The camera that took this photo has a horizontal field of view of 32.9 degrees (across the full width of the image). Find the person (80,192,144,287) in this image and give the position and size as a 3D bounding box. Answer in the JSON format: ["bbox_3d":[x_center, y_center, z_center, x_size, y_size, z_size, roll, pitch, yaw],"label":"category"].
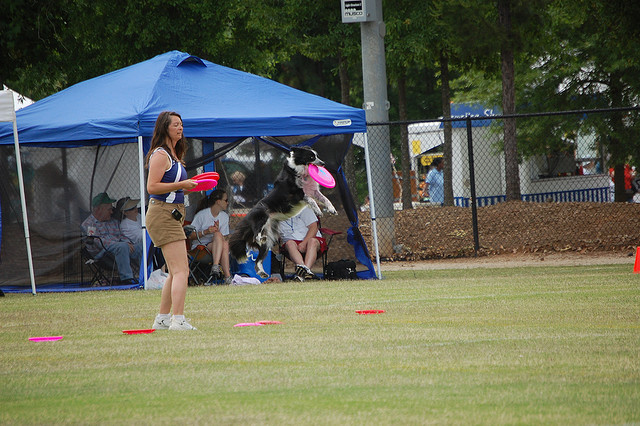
[{"bbox_3d":[-3.971,0.523,20.852,1.068,1.654,0.599,8,14,41],"label":"person"}]

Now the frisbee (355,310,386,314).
[{"bbox_3d":[0.827,1.629,17.807,0.490,0.025,0.195,0,11,4],"label":"frisbee"}]

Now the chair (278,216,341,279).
[{"bbox_3d":[-0.131,0.631,21.355,0.761,0.931,0.851,14,-17,-24],"label":"chair"}]

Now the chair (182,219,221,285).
[{"bbox_3d":[-2.393,0.752,21.180,0.812,0.968,0.835,-3,2,28],"label":"chair"}]

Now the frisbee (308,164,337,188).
[{"bbox_3d":[0.056,-0.661,20.201,0.427,0.082,0.428,41,24,9],"label":"frisbee"}]

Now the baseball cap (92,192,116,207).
[{"bbox_3d":[-4.204,-0.248,21.059,0.337,0.201,0.219,0,2,-4],"label":"baseball cap"}]

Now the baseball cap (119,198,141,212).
[{"bbox_3d":[-3.668,-0.143,21.136,0.345,0.105,0.238,-21,16,33],"label":"baseball cap"}]

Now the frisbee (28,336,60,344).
[{"bbox_3d":[-4.204,1.978,16.786,0.392,0.035,0.264,-1,11,-2],"label":"frisbee"}]

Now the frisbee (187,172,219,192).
[{"bbox_3d":[-1.848,-0.492,17.326,0.323,0.076,0.327,-13,-24,13],"label":"frisbee"}]

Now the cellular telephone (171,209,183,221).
[{"bbox_3d":[-2.180,0.045,16.675,0.036,0.110,0.154,-4,-48,48],"label":"cellular telephone"}]

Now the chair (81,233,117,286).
[{"bbox_3d":[-4.224,0.864,20.700,0.525,0.767,0.607,2,9,43],"label":"chair"}]
